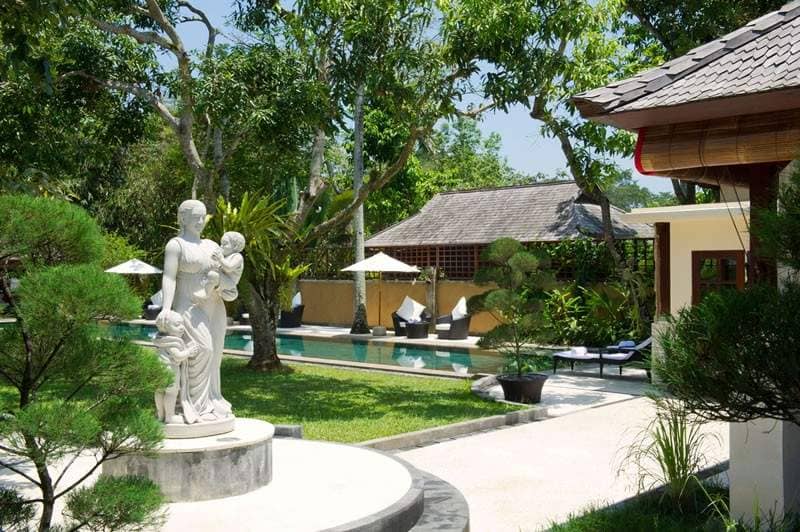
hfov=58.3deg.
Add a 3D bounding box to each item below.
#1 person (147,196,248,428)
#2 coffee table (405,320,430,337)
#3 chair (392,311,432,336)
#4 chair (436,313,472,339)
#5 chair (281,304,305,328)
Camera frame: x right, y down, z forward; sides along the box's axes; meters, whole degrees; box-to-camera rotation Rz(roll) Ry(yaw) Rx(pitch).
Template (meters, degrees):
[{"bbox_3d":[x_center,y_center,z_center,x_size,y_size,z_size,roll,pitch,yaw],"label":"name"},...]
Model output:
[{"bbox_3d":[-2.492,0.539,8.890,0.987,2.780,0.526,2,-5,-22],"label":"person"},{"bbox_3d":[0.557,2.182,24.470,0.745,0.479,0.463,1,-5,-12],"label":"coffee table"},{"bbox_3d":[0.240,2.095,25.500,0.987,0.790,0.878,-1,-15,8],"label":"chair"},{"bbox_3d":[1.886,2.100,24.189,0.892,0.728,0.876,6,-8,-28],"label":"chair"},{"bbox_3d":[-4.485,2.028,29.123,1.206,1.150,1.574,-1,-7,-2],"label":"chair"}]
